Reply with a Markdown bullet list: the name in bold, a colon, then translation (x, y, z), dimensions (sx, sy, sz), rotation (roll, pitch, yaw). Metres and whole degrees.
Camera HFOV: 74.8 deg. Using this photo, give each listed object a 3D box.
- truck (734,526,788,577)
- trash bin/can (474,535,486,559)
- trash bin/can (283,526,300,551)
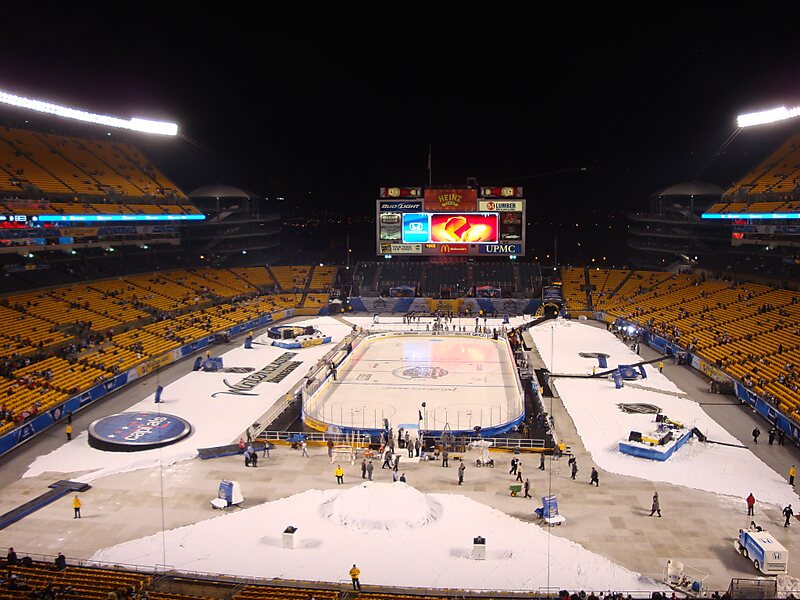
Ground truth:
- **truck**: translation (14.827, 10.256, 21.559), dimensions (1.120, 0.877, 1.886), rotation (-1, 1, 5)
- **trash bin/can**: translation (3.317, 10.413, 21.997), dimensions (0.466, 0.745, 0.465), rotation (0, 11, 2)
- **trash bin/can**: translation (-4.832, 10.378, 22.994), dimensions (0.655, 0.733, 0.656), rotation (-3, 11, -14)
